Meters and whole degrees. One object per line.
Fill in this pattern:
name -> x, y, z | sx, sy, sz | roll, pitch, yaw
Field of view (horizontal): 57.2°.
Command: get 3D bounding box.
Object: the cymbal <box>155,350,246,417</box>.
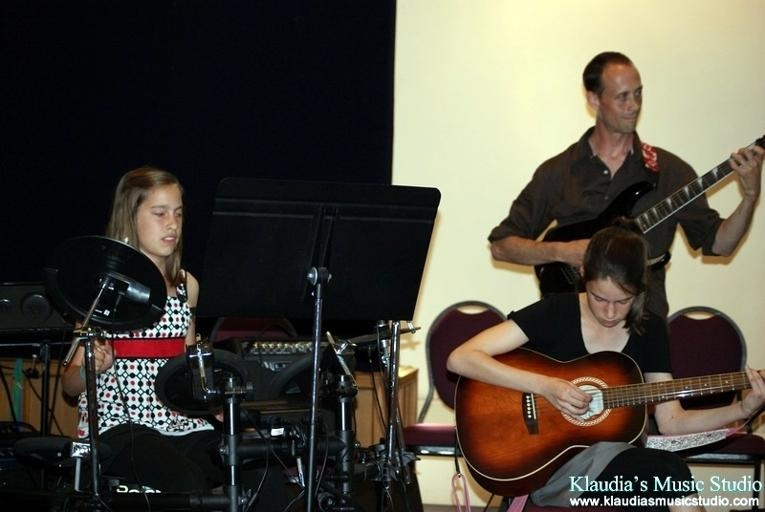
cymbal -> -0.772, 0.536, 2.962 | 0.299, 0.072, 0.304 | 28, -54, -23

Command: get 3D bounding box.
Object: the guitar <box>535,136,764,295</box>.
guitar -> 1.464, -0.234, 3.793 | 0.925, 0.344, 0.134 | -26, -22, 5

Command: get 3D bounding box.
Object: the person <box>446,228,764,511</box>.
person -> 1.015, 0.513, 3.244 | 1.322, 1.251, 0.466 | -3, -9, 29

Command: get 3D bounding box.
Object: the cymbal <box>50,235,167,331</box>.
cymbal -> -1.168, 0.118, 2.958 | 0.420, 0.142, 0.439 | 22, -55, -14
